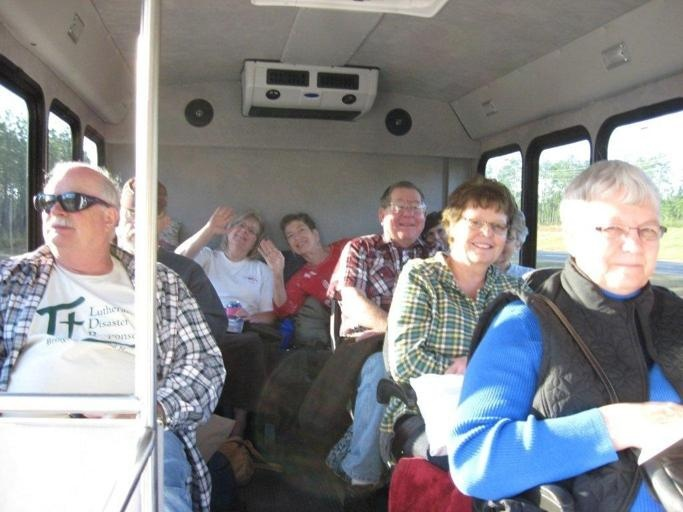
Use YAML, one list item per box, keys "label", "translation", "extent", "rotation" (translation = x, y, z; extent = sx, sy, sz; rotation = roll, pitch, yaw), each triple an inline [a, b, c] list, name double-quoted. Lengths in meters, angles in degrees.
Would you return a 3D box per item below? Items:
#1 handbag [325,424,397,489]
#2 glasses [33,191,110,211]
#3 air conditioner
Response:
- label: "handbag"
  translation: [0.114, 1.347, 3.854]
  extent: [0.378, 0.194, 0.476]
  rotation: [-4, 3, -40]
- label: "glasses"
  translation: [-1.280, -0.253, 2.703]
  extent: [0.330, 0.100, 0.116]
  rotation: [0, 3, -23]
- label: "air conditioner"
  translation: [-0.302, -1.538, 5.307]
  extent: [1.243, 0.371, 0.623]
  rotation: [0, 3, -11]
